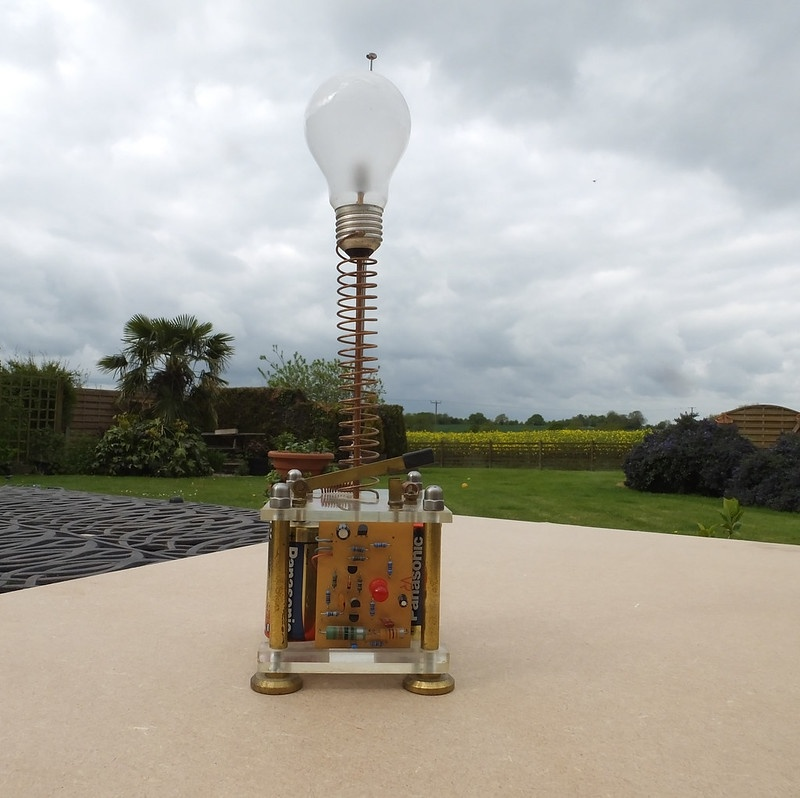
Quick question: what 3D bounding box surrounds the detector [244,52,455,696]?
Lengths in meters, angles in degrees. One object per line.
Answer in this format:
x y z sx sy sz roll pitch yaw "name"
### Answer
-0.134 -0.141 2.457 0.660 2.391 0.527 3 -2 -5 "detector"
